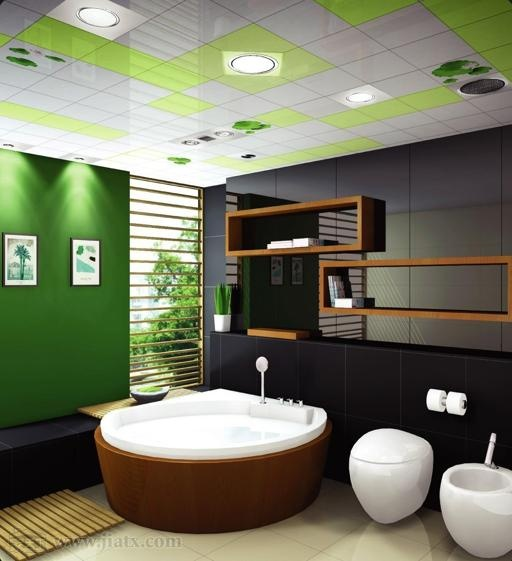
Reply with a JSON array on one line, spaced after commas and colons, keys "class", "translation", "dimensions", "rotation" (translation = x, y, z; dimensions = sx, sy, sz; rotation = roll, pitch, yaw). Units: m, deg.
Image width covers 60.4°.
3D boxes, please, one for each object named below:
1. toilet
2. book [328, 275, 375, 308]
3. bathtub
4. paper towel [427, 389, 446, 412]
[{"class": "toilet", "translation": [0.808, 1.213, 2.880], "dimensions": [0.469, 0.543, 0.591], "rotation": [2, 3, 42]}, {"class": "book", "translation": [0.819, 0.129, 3.781], "dimensions": [0.290, 0.327, 0.345], "rotation": [-2, -3, 33]}, {"class": "bathtub", "translation": [-0.152, 1.161, 2.852], "dimensions": [1.064, 0.330, 0.982], "rotation": [-1, 1, -44]}, {"class": "paper towel", "translation": [1.156, 0.767, 2.819], "dimensions": [0.089, 0.155, 0.164], "rotation": [2, 3, 36]}]
